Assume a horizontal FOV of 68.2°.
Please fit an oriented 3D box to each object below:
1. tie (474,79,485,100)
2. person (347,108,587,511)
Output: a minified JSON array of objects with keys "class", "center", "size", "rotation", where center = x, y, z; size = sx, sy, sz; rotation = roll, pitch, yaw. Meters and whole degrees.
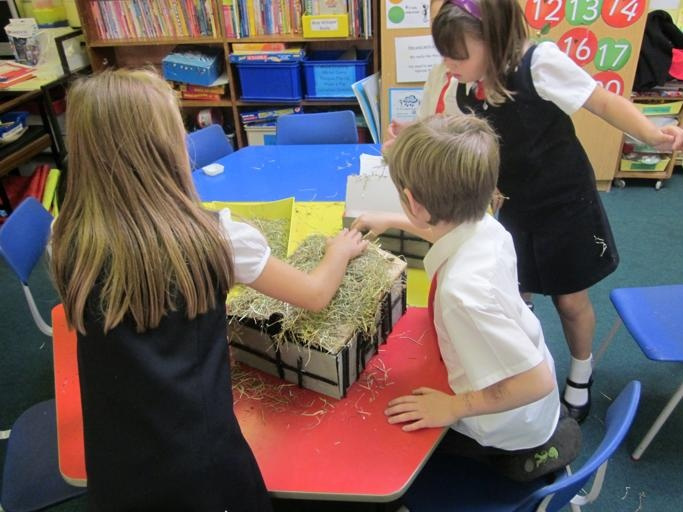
[{"class":"tie","center":[0.555,-0.669,2.041],"size":[0.017,0.043,0.060],"rotation":[0,47,5]},{"class":"person","center":[0.436,0.129,1.534],"size":[0.613,1.012,0.614],"rotation":[-2,31,6]}]
